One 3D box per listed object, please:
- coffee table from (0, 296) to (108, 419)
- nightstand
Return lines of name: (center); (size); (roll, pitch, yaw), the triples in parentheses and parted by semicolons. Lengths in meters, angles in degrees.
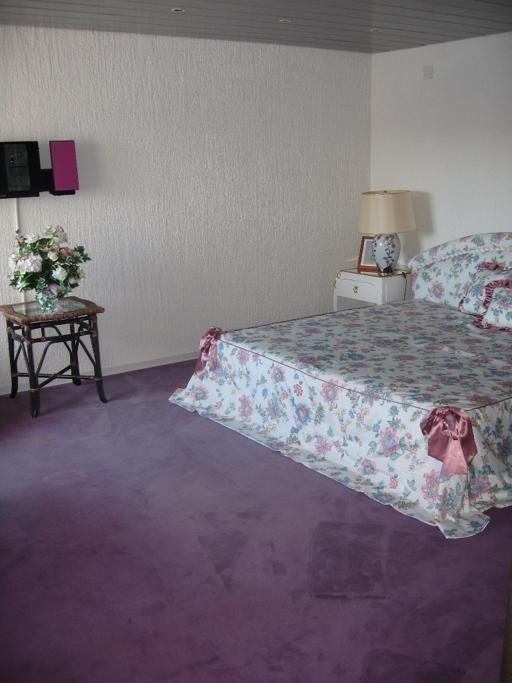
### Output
coffee table: (-1.257, 0.084, 3.520); (0.790, 0.771, 0.767); (-6, 28, -23)
nightstand: (0.925, -0.505, 4.425); (0.376, 0.424, 0.458); (-9, 17, -33)
